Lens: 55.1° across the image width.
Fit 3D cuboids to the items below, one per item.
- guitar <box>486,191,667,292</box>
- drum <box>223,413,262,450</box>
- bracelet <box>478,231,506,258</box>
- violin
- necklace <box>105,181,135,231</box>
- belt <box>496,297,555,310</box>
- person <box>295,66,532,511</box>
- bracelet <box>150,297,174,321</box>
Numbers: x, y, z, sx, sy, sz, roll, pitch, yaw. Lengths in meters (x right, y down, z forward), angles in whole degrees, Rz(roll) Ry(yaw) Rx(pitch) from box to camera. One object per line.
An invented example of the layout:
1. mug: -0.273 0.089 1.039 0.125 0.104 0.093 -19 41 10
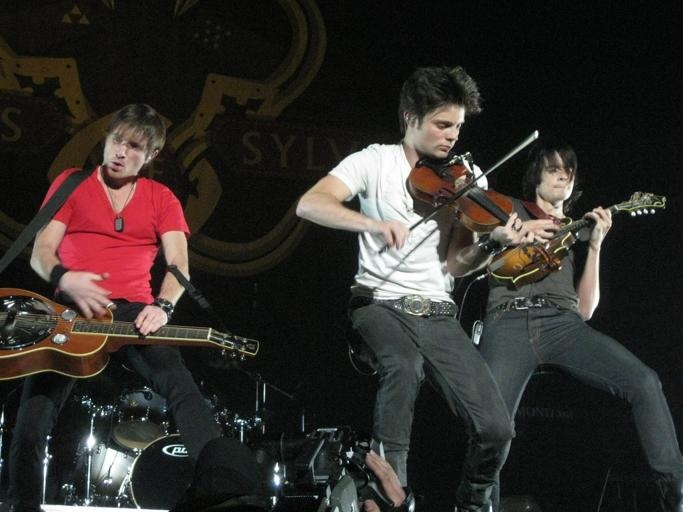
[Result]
1. guitar: 1.691 -0.121 4.757 1.623 0.575 0.244 -21 -9 -33
2. drum: -0.704 1.286 4.886 0.315 0.196 0.146 18 -24 -37
3. bracelet: 0.858 -0.064 3.787 0.158 0.096 0.060 -5 8 0
4. violin: 0.720 -0.261 3.837 0.357 0.676 0.141 -23 -39 -21
5. necklace: -1.386 -0.325 4.055 0.187 0.314 0.077 0 -13 -8
6. belt: 1.212 0.313 4.309 0.189 0.056 0.138 -2 -9 -1
7. person: 0.433 0.088 3.754 1.239 2.575 0.635 9 -19 -15
8. bracelet: -1.091 0.315 3.999 0.127 0.128 0.124 8 -40 -20
